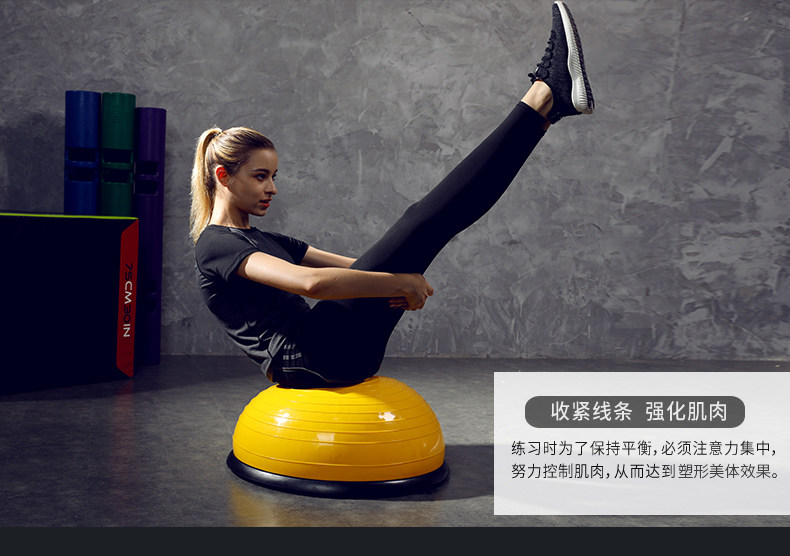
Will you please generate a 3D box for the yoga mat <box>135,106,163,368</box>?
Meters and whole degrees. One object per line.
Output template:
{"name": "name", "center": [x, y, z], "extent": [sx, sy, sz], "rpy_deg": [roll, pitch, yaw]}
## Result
{"name": "yoga mat", "center": [-1.545, -0.259, 5.303], "extent": [0.176, 1.589, 0.288], "rpy_deg": [1, 10, -19]}
